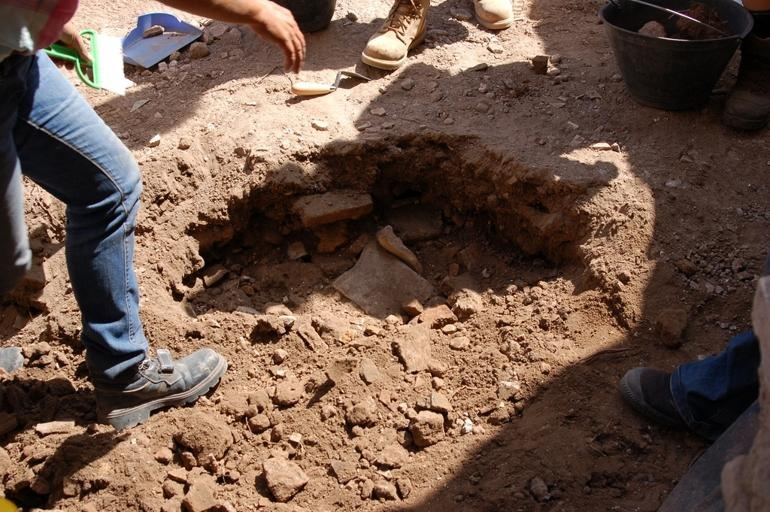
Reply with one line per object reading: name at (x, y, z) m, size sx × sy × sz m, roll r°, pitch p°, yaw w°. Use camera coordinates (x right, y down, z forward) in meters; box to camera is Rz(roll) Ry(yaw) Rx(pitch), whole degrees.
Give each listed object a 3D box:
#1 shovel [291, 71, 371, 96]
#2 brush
shovel at (-0.363, -1.146, 4.664) m, size 0.550 × 0.092 × 0.460 m, roll -16°, pitch 31°, yaw -26°
brush at (-1.659, -1.091, 3.990) m, size 0.529 × 0.058 × 0.375 m, roll 10°, pitch 54°, yaw -43°
